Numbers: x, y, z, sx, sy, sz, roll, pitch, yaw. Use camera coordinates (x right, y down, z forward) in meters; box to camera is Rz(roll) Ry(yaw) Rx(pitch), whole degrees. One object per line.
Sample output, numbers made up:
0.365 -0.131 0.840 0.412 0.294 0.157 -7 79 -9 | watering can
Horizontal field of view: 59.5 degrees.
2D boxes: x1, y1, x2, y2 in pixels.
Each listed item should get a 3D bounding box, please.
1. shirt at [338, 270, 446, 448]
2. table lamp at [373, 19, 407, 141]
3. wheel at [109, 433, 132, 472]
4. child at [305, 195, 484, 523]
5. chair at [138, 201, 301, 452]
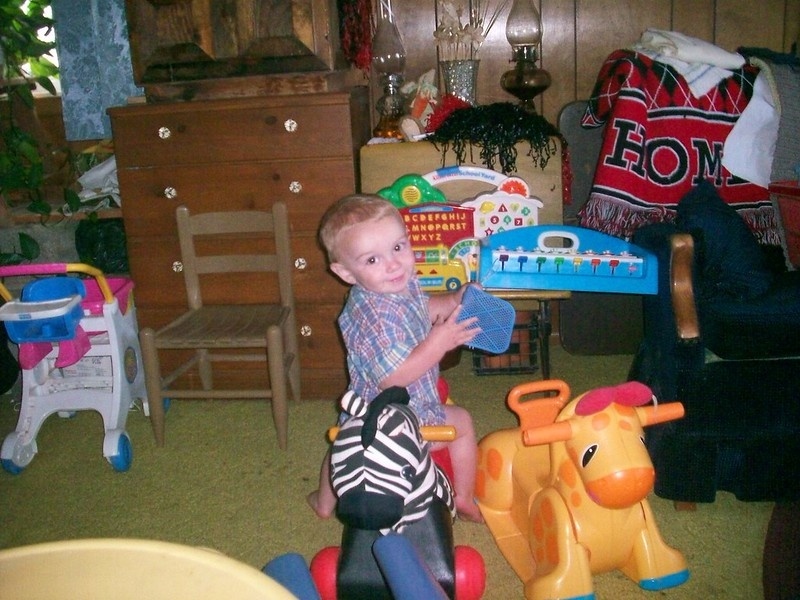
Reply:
0.049 0.164 2.028 0.313 0.455 0.474 -3 12 9 | shirt
-0.042 -0.854 2.701 0.130 0.436 0.218 -2 19 1 | table lamp
-0.942 0.516 2.353 0.040 0.098 0.088 -10 62 -2 | wheel
-0.001 0.205 2.001 0.591 0.947 0.448 4 22 21 | child
-0.633 0.086 2.484 0.505 0.786 0.439 -3 19 -2 | chair
